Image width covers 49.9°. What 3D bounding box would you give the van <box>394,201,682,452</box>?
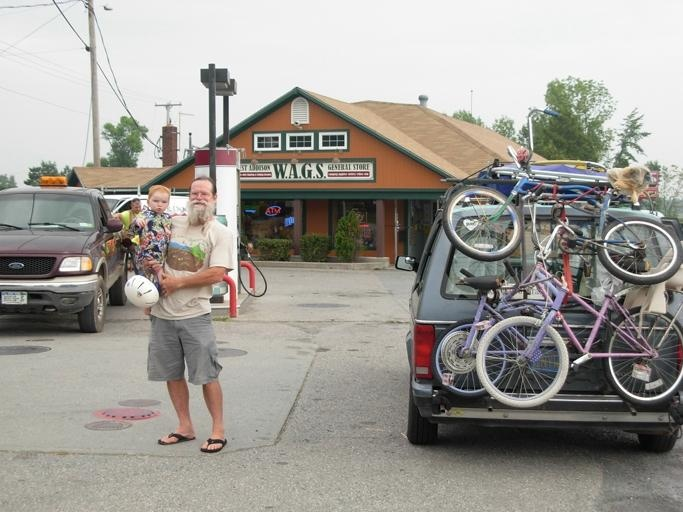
[{"bbox_3d":[1.575,0.546,7.166,1.791,1.408,2.834,1,7,-1],"label":"van"}]

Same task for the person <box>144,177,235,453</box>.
[{"bbox_3d":[-1.382,0.502,6.618,0.792,2.427,0.543,1,5,-5],"label":"person"}]
